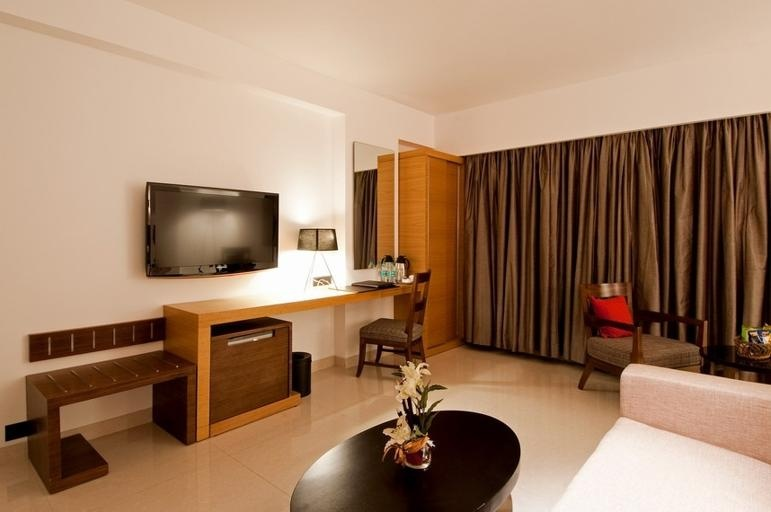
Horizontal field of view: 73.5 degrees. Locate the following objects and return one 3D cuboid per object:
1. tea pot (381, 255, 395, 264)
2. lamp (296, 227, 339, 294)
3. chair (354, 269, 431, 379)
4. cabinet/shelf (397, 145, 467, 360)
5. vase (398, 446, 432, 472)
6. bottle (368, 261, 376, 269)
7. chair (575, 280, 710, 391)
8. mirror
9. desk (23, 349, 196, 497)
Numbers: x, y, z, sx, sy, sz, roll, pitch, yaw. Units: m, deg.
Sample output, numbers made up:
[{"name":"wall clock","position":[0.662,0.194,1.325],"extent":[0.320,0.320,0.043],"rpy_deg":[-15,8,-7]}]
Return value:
[{"name":"tea pot","position":[0.021,0.049,6.202],"extent":[0.125,0.108,0.091],"rpy_deg":[-1,1,-13]},{"name":"lamp","position":[-0.693,0.018,5.548],"extent":[0.373,0.564,0.382],"rpy_deg":[4,11,35]},{"name":"chair","position":[0.089,0.736,5.665],"extent":[0.871,1.149,0.849],"rpy_deg":[-1,5,-12]},{"name":"cabinet/shelf","position":[0.658,-0.465,6.494],"extent":[0.701,1.569,0.319],"rpy_deg":[2,-2,-37]},{"name":"vase","position":[0.194,1.292,3.343],"extent":[0.181,0.129,0.180],"rpy_deg":[-2,-10,10]},{"name":"bottle","position":[-0.165,0.116,6.165],"extent":[0.070,0.119,0.127],"rpy_deg":[7,7,40]},{"name":"chair","position":[2.359,0.776,4.937],"extent":[1.032,1.276,1.172],"rpy_deg":[0,-4,-24]},{"name":"mirror","position":[-0.173,-0.386,6.000],"extent":[0.524,1.218,0.047],"rpy_deg":[-3,-6,37]},{"name":"desk","position":[-2.251,1.291,4.244],"extent":[0.591,0.700,1.117],"rpy_deg":[9,9,39]}]
